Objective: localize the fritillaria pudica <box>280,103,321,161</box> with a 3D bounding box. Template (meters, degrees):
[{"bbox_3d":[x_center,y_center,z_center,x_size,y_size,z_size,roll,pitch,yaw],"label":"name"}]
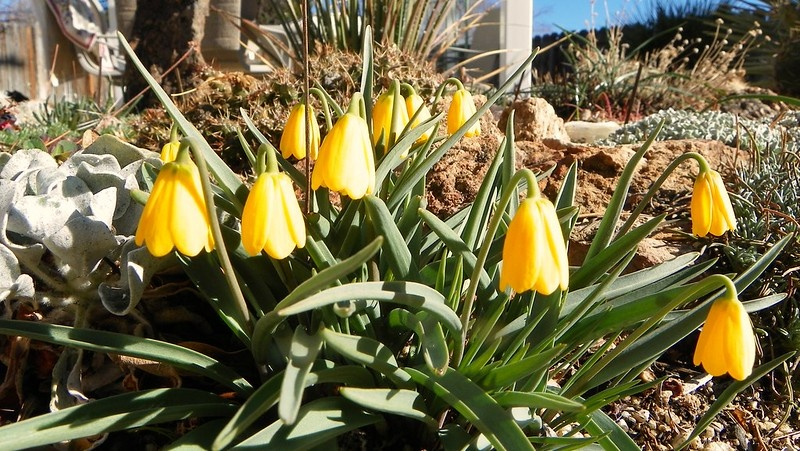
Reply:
[{"bbox_3d":[-0.575,-0.544,4.287,0.246,0.302,0.234,3,1,-9],"label":"fritillaria pudica"}]

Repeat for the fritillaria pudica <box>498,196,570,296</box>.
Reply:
[{"bbox_3d":[0.679,0.158,3.896,0.348,0.451,0.355,0,6,-9],"label":"fritillaria pudica"}]

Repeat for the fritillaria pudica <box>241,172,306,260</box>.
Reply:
[{"bbox_3d":[-0.701,-0.029,3.963,0.350,0.441,0.305,-1,0,-23],"label":"fritillaria pudica"}]

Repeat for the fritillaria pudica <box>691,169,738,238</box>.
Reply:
[{"bbox_3d":[1.693,-0.118,4.016,0.239,0.358,0.171,13,20,19],"label":"fritillaria pudica"}]

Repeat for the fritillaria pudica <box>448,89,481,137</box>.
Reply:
[{"bbox_3d":[0.374,-0.646,4.339,0.186,0.276,0.305,7,18,1],"label":"fritillaria pudica"}]

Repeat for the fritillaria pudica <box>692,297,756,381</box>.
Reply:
[{"bbox_3d":[1.688,0.590,3.841,0.275,0.465,0.164,12,19,16],"label":"fritillaria pudica"}]

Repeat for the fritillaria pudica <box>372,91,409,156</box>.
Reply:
[{"bbox_3d":[-0.043,-0.587,4.283,0.235,0.360,0.198,-1,20,-22],"label":"fritillaria pudica"}]
